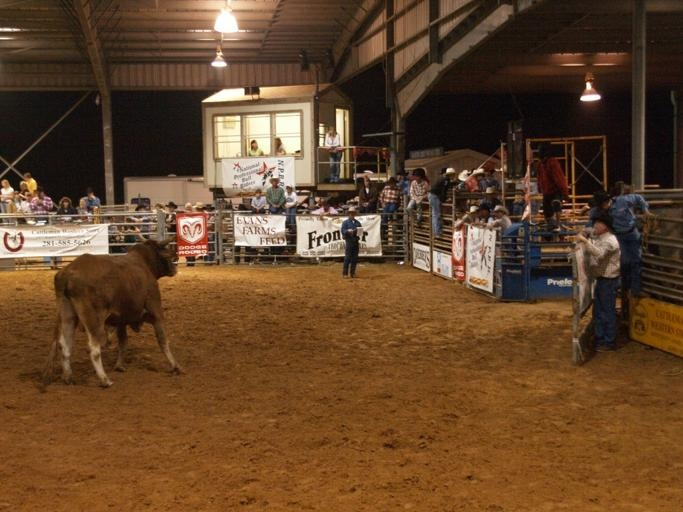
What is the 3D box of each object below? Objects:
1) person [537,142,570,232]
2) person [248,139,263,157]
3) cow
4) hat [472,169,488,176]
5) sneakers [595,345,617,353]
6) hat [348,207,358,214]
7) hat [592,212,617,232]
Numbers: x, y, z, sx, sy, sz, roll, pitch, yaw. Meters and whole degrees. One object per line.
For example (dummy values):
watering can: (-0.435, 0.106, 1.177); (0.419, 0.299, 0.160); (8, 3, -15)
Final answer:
person: (4.623, -1.462, 17.225); (0.566, 1.799, 0.901); (-2, 14, -7)
person: (-2.964, -3.714, 27.653); (0.495, 0.511, 1.102); (-2, 14, -6)
cow: (-3.729, 0.892, 12.975); (0.950, 1.785, 2.475); (-3, -1, 24)
hat: (3.740, -2.276, 21.724); (0.422, 0.113, 0.363); (-2, 1, -14)
sneakers: (4.380, 1.488, 13.027); (0.447, 0.084, 0.224); (-3, 14, -14)
hat: (0.273, -1.153, 20.439); (0.174, 0.125, 0.167); (-1, -1, -3)
hat: (4.204, -0.602, 12.920); (0.344, 0.150, 0.398); (20, 5, -18)
